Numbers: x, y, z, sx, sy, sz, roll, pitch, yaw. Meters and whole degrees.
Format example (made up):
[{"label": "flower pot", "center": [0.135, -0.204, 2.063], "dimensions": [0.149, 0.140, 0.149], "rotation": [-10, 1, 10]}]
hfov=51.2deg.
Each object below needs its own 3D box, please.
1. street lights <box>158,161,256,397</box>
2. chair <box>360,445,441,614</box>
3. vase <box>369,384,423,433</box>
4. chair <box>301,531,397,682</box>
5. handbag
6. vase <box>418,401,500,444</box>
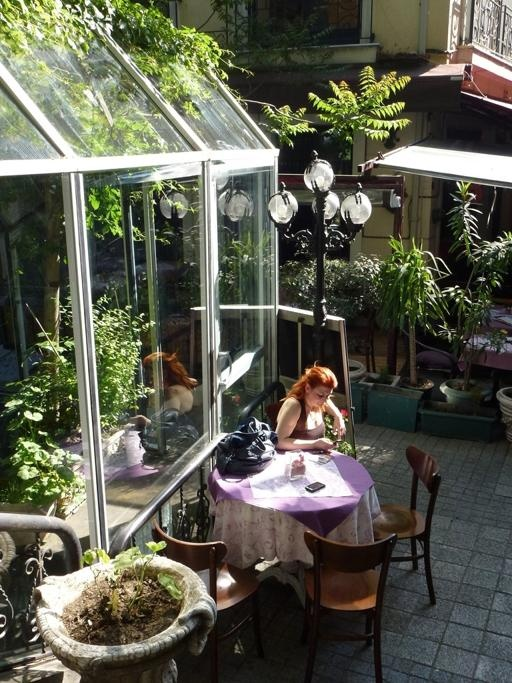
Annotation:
[{"label": "street lights", "center": [-0.317, -0.531, 3.704], "dimensions": [0.528, 1.317, 0.498], "rotation": [-6, 34, -18]}, {"label": "chair", "center": [0.904, 1.197, 3.536], "dimensions": [0.563, 0.847, 0.613], "rotation": [1, 6, 16]}, {"label": "vase", "center": [1.691, 0.807, 6.343], "dimensions": [0.662, 0.444, 0.363], "rotation": [7, 12, 41]}, {"label": "chair", "center": [0.464, 1.318, 2.791], "dimensions": [0.442, 0.957, 0.582], "rotation": [0, 12, 5]}, {"label": "handbag", "center": [-0.058, 0.711, 3.526], "dimensions": [0.316, 0.292, 0.551], "rotation": [3, 4, 35]}, {"label": "vase", "center": [2.218, 0.911, 5.919], "dimensions": [0.713, 0.251, 0.448], "rotation": [4, 12, 19]}]
